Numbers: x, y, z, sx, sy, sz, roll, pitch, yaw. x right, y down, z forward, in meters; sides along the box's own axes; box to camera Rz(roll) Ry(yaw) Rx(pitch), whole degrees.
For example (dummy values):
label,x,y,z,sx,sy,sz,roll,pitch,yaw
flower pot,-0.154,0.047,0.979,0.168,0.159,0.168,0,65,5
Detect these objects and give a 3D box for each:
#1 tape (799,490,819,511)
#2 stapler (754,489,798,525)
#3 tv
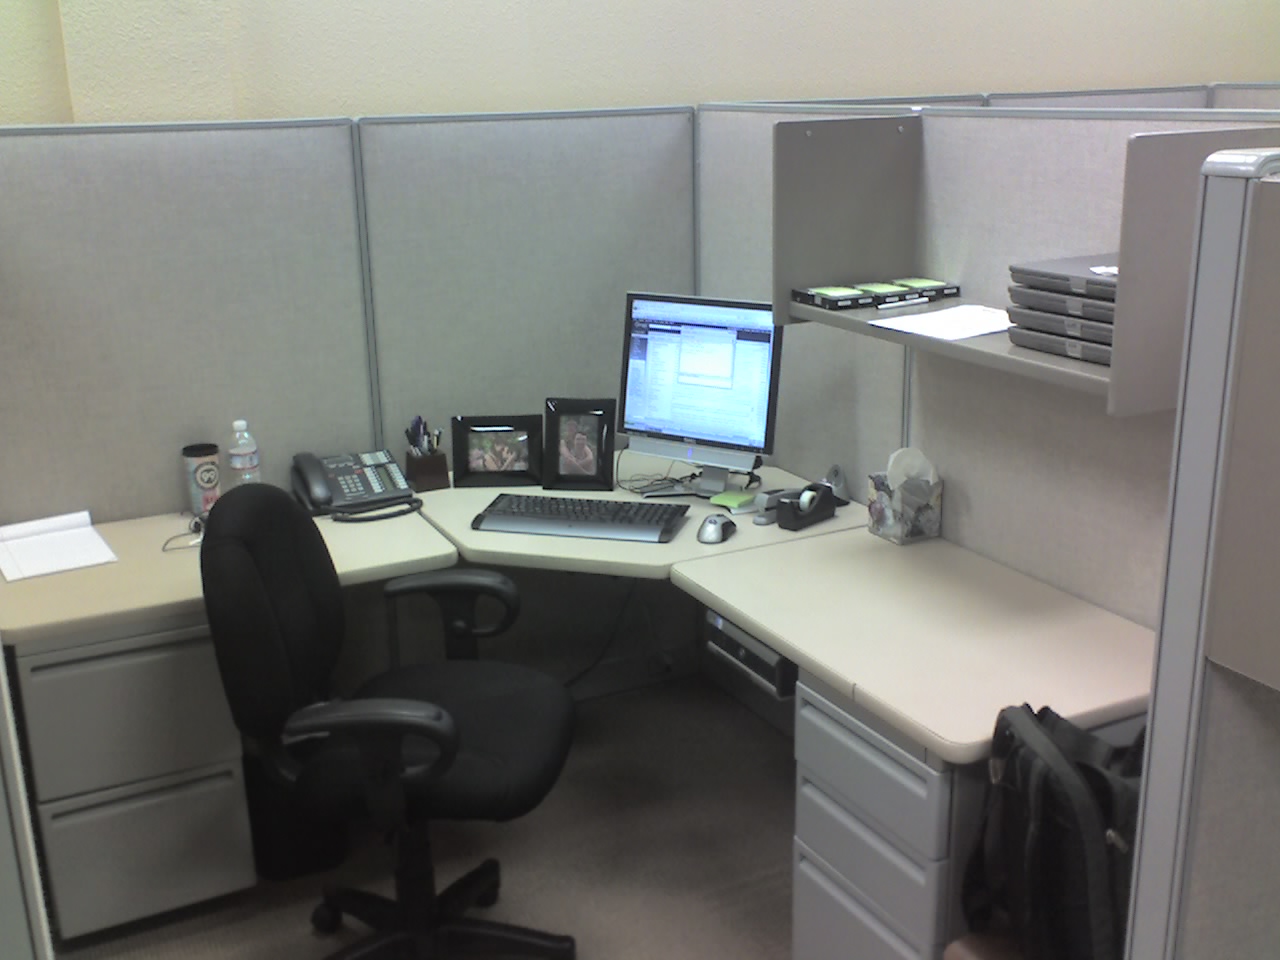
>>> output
label,x,y,z,sx,sy,sz,roll,pitch,yaw
tape,0.430,0.051,2.664,0.037,0.070,0.069,11,4,32
stapler,0.354,0.061,2.722,0.165,0.066,0.048,-23,27,-37
tv,0.167,-0.247,2.877,0.509,0.520,0.181,8,21,31
